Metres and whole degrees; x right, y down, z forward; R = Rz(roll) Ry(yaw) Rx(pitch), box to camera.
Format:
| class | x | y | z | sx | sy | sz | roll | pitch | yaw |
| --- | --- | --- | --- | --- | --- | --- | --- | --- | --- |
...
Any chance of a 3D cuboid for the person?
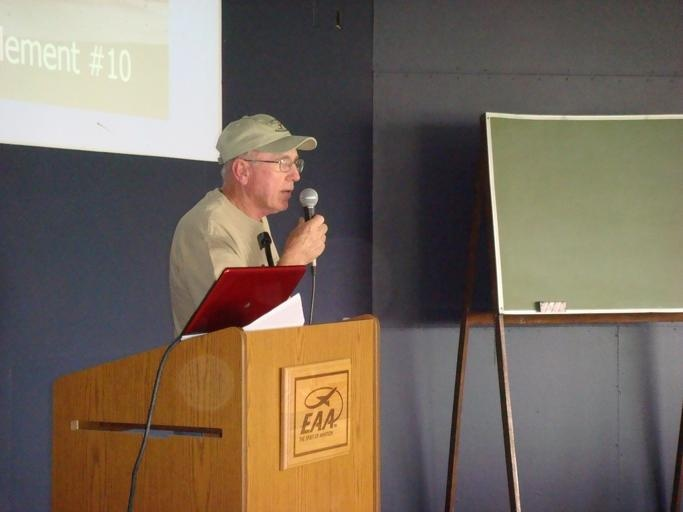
| class | x | y | z | sx | sy | sz | roll | pitch | yaw |
| --- | --- | --- | --- | --- | --- | --- | --- | --- | --- |
| person | -0.450 | -0.132 | 4.610 | 0.738 | 1.672 | 0.809 | 0 | 2 | 3 |

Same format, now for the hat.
| class | x | y | z | sx | sy | sz | roll | pitch | yaw |
| --- | --- | --- | --- | --- | --- | --- | --- | --- | --- |
| hat | -0.347 | -0.526 | 4.235 | 0.455 | 0.237 | 0.333 | -9 | 3 | 19 |

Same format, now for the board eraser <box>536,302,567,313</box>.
| class | x | y | z | sx | sy | sz | roll | pitch | yaw |
| --- | --- | --- | --- | --- | --- | --- | --- | --- | --- |
| board eraser | 0.983 | 0.240 | 4.480 | 0.148 | 0.059 | 0.015 | 2 | -4 | -9 |
